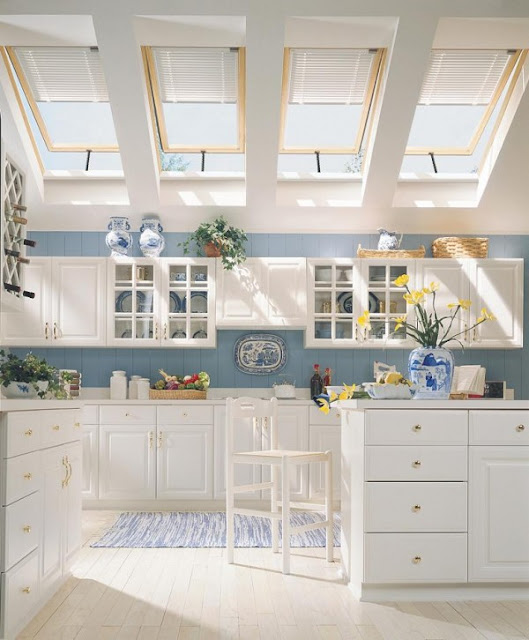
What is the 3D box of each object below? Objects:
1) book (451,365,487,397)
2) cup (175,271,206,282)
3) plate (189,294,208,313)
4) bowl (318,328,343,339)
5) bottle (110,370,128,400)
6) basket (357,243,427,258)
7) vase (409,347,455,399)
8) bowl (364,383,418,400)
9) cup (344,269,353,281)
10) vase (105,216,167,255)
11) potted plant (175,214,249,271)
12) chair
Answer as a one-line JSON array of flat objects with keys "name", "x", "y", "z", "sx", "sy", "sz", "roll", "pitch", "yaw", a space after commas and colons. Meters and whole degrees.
[{"name": "book", "x": 1.541, "y": 0.451, "z": 4.275, "sx": 0.231, "sy": 0.229, "sz": 0.438, "roll": -3, "pitch": -8, "yaw": 19}, {"name": "cup", "x": -0.571, "y": -0.336, "z": 4.396, "sx": 0.145, "sy": 0.049, "sz": 0.102, "roll": 2, "pitch": -3, "yaw": -3}, {"name": "plate", "x": -0.516, "y": -0.125, "z": 4.398, "sx": 0.166, "sy": 0.171, "sz": 0.019, "roll": -1, "pitch": 1, "yaw": -1}, {"name": "bowl", "x": 0.487, "y": 0.111, "z": 4.410, "sx": 0.098, "sy": 0.041, "sz": 0.121, "roll": 3, "pitch": -15, "yaw": -8}, {"name": "bottle", "x": -1.128, "y": 0.505, "z": 4.402, "sx": 0.120, "sy": 0.223, "sz": 0.179, "roll": 1, "pitch": -8, "yaw": -8}, {"name": "basket", "x": 0.996, "y": -0.527, "z": 4.466, "sx": 0.521, "sy": 0.092, "sz": 0.100, "roll": 0, "pitch": -8, "yaw": -3}, {"name": "vase", "x": 0.734, "y": 0.235, "z": 2.470, "sx": 0.197, "sy": 0.223, "sz": 0.202, "roll": -1, "pitch": -4, "yaw": 37}, {"name": "bowl", "x": 0.531, "y": 0.308, "z": 2.418, "sx": 0.196, "sy": 0.070, "sz": 0.214, "roll": 0, "pitch": -8, "yaw": 0}, {"name": "cup", "x": 0.665, "y": -0.358, "z": 4.434, "sx": 0.082, "sy": 0.071, "sz": 0.075, "roll": 0, "pitch": -10, "yaw": 0}, {"name": "vase", "x": -1.026, "y": -0.687, "z": 4.497, "sx": 0.347, "sy": 0.214, "sz": 0.134, "roll": 0, "pitch": -3, "yaw": 1}, {"name": "potted plant", "x": -0.371, "y": -0.616, "z": 4.547, "sx": 0.538, "sy": 0.348, "sz": 0.452, "roll": 1, "pitch": -9, "yaw": 10}, {"name": "chair", "x": 0.117, "y": 0.902, "z": 3.485, "sx": 0.738, "sy": 0.839, "sz": 1.575, "roll": 0, "pitch": -8, "yaw": -4}]
